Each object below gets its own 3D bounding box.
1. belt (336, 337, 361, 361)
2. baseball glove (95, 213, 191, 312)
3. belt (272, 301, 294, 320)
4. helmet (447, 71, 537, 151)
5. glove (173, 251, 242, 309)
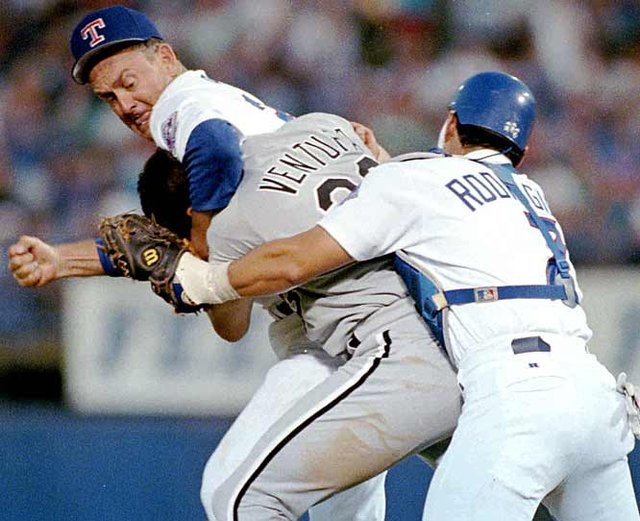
[{"bbox_3d":[0.138,0.412,6.351,0.066,0.109,0.084,33,19,-17],"label":"belt"},{"bbox_3d":[-0.950,-0.044,6.801,0.436,0.271,0.662,5,-14,-4],"label":"baseball glove"},{"bbox_3d":[-0.177,0.245,6.695,0.073,0.070,0.019,-26,27,37],"label":"belt"},{"bbox_3d":[0.859,-0.762,6.647,0.429,0.323,0.335,23,-3,39],"label":"helmet"},{"bbox_3d":[-0.528,0.113,6.454,0.368,0.279,0.128,7,16,26],"label":"glove"}]
